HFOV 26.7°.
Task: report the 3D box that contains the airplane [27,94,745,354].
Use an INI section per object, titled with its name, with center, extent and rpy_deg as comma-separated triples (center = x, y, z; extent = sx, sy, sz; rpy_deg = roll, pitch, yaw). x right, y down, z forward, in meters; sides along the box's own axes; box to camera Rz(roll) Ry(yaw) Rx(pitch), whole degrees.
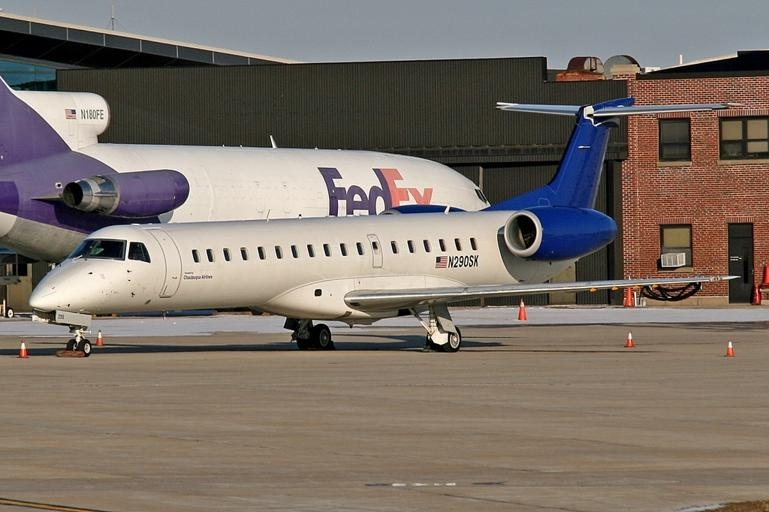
[airplane]
center = -0.997, 0.116, 45.055
extent = 13.222, 3.419, 11.655
rpy_deg = -1, 0, -37
